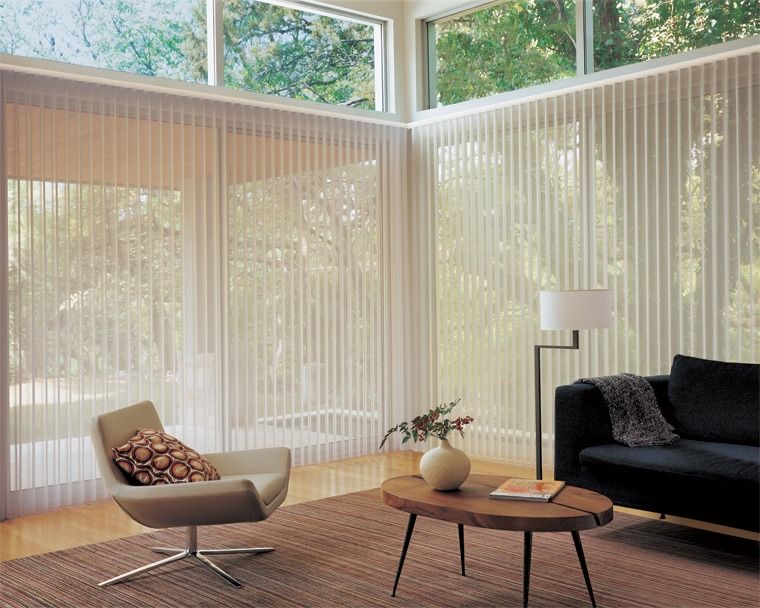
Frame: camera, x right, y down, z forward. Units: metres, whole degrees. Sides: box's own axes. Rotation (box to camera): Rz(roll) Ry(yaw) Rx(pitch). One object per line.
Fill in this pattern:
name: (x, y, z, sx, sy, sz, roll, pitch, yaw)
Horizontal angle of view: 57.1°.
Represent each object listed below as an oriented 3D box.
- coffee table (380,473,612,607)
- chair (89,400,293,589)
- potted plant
coffee table: (0.573, 1.190, 3.475, 1.127, 0.505, 0.656, -1, 1, 31)
chair: (-0.976, 1.039, 3.916, 1.109, 0.972, 1.105, -1, -2, -28)
potted plant: (0.301, 0.772, 3.768, 0.426, 0.450, 0.600, -5, -12, 20)
